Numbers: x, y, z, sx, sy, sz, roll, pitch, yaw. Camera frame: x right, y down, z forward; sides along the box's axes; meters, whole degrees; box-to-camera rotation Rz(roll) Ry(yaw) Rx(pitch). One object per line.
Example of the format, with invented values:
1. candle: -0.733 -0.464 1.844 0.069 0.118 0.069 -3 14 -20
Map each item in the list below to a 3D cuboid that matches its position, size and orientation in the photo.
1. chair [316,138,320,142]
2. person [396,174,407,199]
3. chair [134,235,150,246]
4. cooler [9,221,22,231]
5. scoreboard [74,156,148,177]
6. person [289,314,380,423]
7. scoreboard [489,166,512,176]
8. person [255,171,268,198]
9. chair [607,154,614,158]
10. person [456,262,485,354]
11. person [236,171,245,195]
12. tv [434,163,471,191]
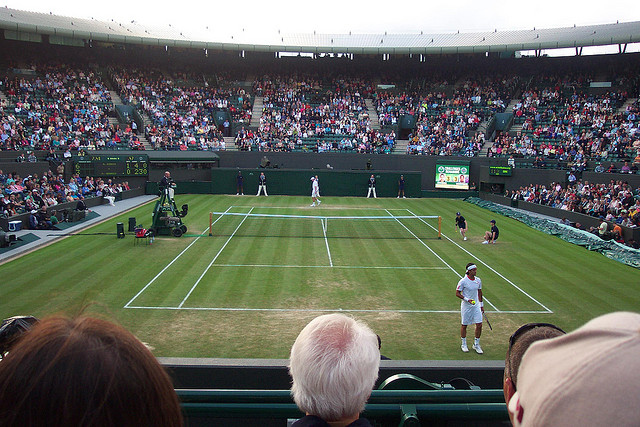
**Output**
1. chair: -0.141 -7.947 54.859 0.416 0.415 0.232 1 16 1
2. person: 7.687 -2.562 47.663 0.753 2.099 0.897 8 11 43
3. chair: -8.816 1.367 25.508 0.627 0.471 0.633 -1 1 -8
4. cooler: -15.616 0.623 26.319 0.440 0.297 0.452 0 4 10
5. scoreboard: -17.169 -3.925 42.555 0.632 1.815 6.319 7 10 36
6. person: 0.084 0.907 3.180 0.459 0.800 0.612 3 18 6
7. scoreboard: 15.712 -3.702 44.509 0.549 0.820 2.064 -3 10 -29
8. person: -5.385 -2.827 47.285 1.084 2.219 1.321 2 8 7
9. chair: 22.326 -4.495 39.455 0.467 0.328 0.258 1 8 12
10. person: 3.952 2.404 13.362 0.702 2.260 0.871 3 8 18
11. person: -7.227 -2.788 47.116 0.572 2.031 0.887 0 8 -9
12. tv: 12.831 -3.515 48.860 2.590 2.230 0.362 2 -3 29
